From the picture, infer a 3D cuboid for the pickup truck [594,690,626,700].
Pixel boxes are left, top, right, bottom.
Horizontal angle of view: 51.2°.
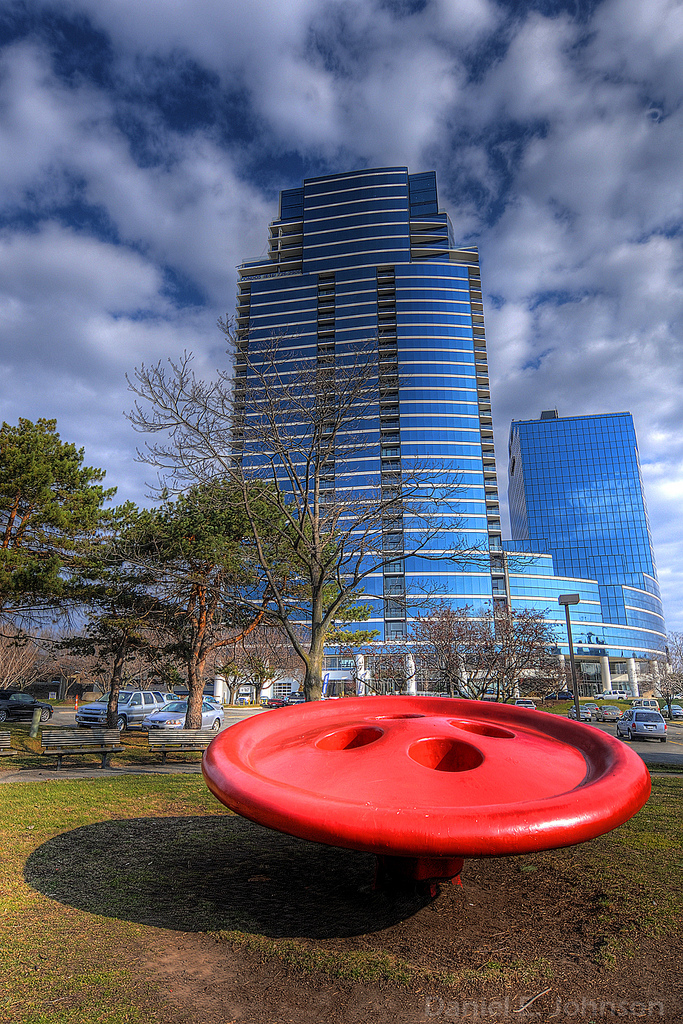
[{"bbox_3d":[29.196,19.859,76.689,2.422,0.386,8.881,3,-6,24],"label":"pickup truck"}]
